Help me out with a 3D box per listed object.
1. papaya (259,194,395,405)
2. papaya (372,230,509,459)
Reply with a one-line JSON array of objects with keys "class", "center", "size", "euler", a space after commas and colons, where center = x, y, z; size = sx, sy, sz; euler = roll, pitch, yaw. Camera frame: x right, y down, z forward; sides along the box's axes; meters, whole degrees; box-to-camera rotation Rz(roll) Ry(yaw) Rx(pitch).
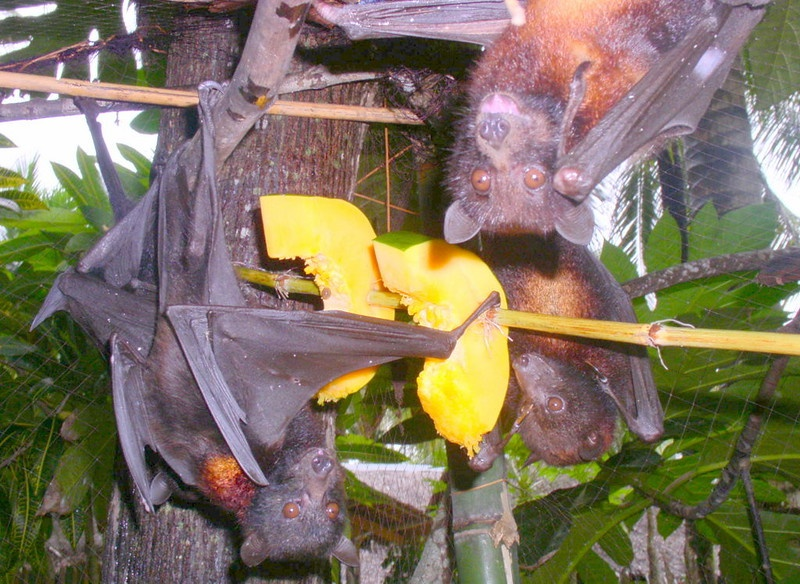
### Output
[{"class": "papaya", "center": [-0.317, -0.168, 3.601], "size": [0.685, 1.117, 0.320], "euler": [-4, 12, 5]}, {"class": "papaya", "center": [0.235, 0.166, 3.519], "size": [0.483, 0.998, 0.216], "euler": [-17, -19, -6]}]
